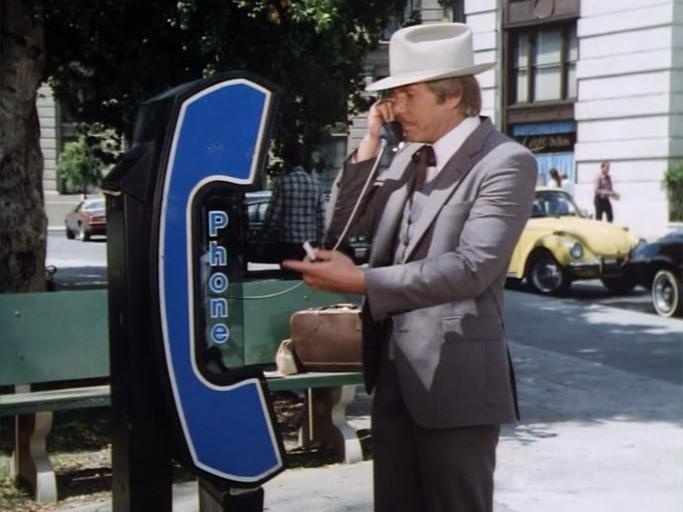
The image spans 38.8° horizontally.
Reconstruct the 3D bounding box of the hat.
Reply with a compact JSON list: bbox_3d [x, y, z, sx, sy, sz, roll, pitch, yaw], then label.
[{"bbox_3d":[0.407,-0.946,4.526,0.393,0.222,0.361,-9,10,15],"label":"hat"}]

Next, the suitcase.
[{"bbox_3d":[-0.093,0.457,6.280,0.457,0.464,0.374,1,4,7],"label":"suitcase"}]

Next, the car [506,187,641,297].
[{"bbox_3d":[2.890,-0.099,12.913,1.378,1.267,2.337,0,-1,-29],"label":"car"}]

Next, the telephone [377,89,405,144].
[{"bbox_3d":[0.252,-0.656,4.693,0.049,0.152,0.211,-3,-42,10],"label":"telephone"}]
